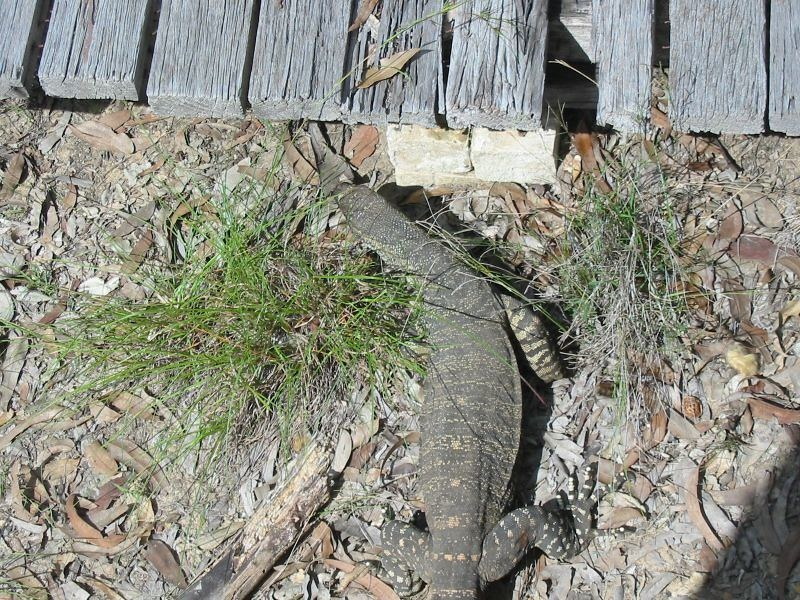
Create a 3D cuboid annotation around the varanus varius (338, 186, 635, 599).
[{"bbox_3d":[0.494,0.650,5.069,1.398,0.496,2.457,-6,83,-4],"label":"varanus varius"}]
